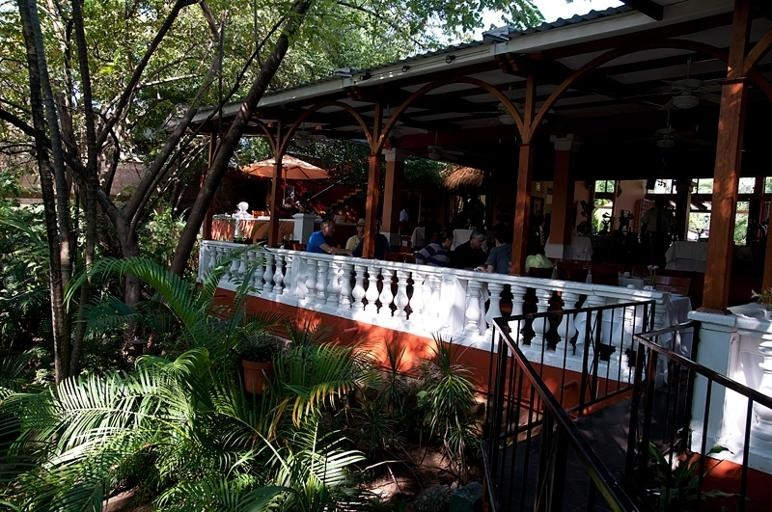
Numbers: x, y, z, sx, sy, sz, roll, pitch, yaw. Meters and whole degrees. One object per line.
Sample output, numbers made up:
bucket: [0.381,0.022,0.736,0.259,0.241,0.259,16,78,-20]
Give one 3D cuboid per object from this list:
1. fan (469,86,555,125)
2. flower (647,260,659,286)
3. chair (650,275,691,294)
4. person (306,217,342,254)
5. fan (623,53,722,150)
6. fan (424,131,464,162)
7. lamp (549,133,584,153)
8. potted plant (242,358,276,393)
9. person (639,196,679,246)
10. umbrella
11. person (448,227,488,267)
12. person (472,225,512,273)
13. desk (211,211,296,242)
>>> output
fan: [2.280,-2.707,9.902,1.039,0.401,1.077,2,5,4]
flower: [4.616,0.305,9.581,0.242,0.426,0.258,2,8,14]
chair: [4.381,0.446,8.505,0.481,0.296,0.517,2,1,26]
person: [-1.169,-0.386,10.445,0.579,0.656,0.928,2,0,-9]
fan: [5.211,-2.929,9.846,1.391,1.572,1.522,12,-11,-22]
fan: [1.503,-2.794,14.267,0.774,0.322,0.767,3,-5,-34]
lamp: [4.105,-2.546,12.627,0.651,0.392,0.365,2,0,16]
potted plant: [-1.878,1.729,8.232,0.495,0.409,0.513,2,-4,7]
person: [6.984,-0.899,14.180,0.734,1.207,1.275,2,0,27]
umbrella: [-3.053,-2.683,17.413,2.049,0.955,2.108,5,-5,-40]
person: [1.519,-0.132,10.413,0.377,0.747,0.736,-15,8,4]
person: [1.752,-0.167,9.199,0.623,0.850,0.668,5,29,-5]
desk: [-4.263,-0.902,18.000,1.677,0.873,4.737,2,1,-30]
